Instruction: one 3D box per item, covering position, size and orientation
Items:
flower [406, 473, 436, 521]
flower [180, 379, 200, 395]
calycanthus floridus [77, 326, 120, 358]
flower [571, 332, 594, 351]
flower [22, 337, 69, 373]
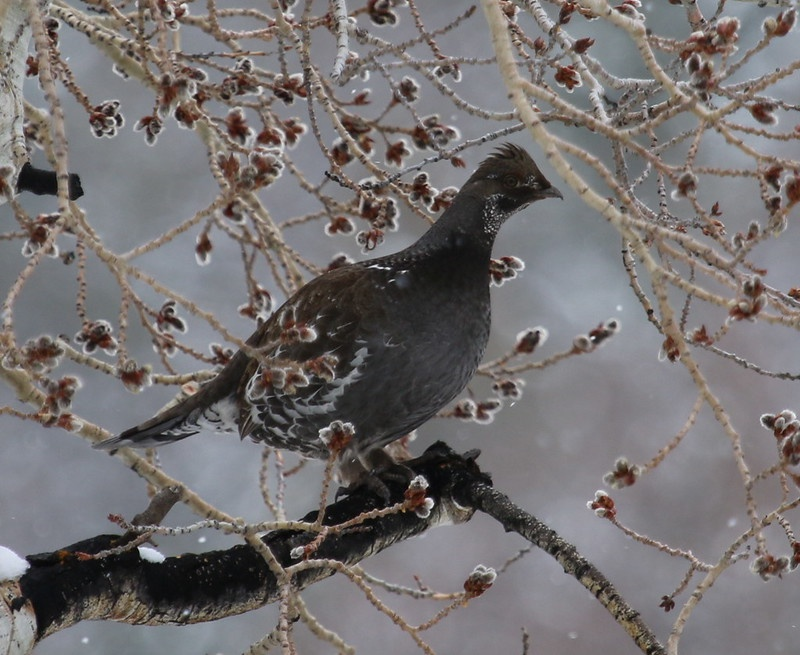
[{"bbox_3d":[0.059,0.618,5.648,0.060,0.112,0.161,9,-33,30],"label":"flower"},{"bbox_3d":[-0.928,0.262,6.724,0.056,0.138,0.048,12,-101,-19],"label":"flower"},{"bbox_3d":[-1.092,0.047,5.538,0.151,0.056,0.113,17,-66,36],"label":"calycanthus floridus"},{"bbox_3d":[0.764,0.054,6.496,0.067,0.037,0.076,6,-96,6],"label":"flower"},{"bbox_3d":[-1.276,0.091,5.505,0.119,0.053,0.142,-4,-74,-14],"label":"flower"}]
